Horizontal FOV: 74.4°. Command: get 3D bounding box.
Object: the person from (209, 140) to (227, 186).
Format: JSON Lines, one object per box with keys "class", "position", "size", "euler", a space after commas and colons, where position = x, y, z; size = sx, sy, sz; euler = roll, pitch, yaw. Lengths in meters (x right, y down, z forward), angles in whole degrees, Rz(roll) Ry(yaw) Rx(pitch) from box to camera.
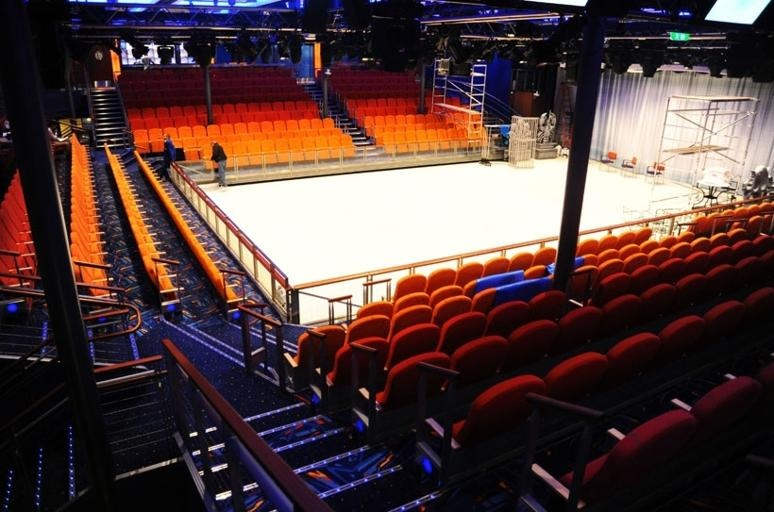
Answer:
{"class": "person", "position": [-5.165, -2.801, 15.639], "size": [0.516, 1.337, 0.512], "euler": [-6, 13, -18]}
